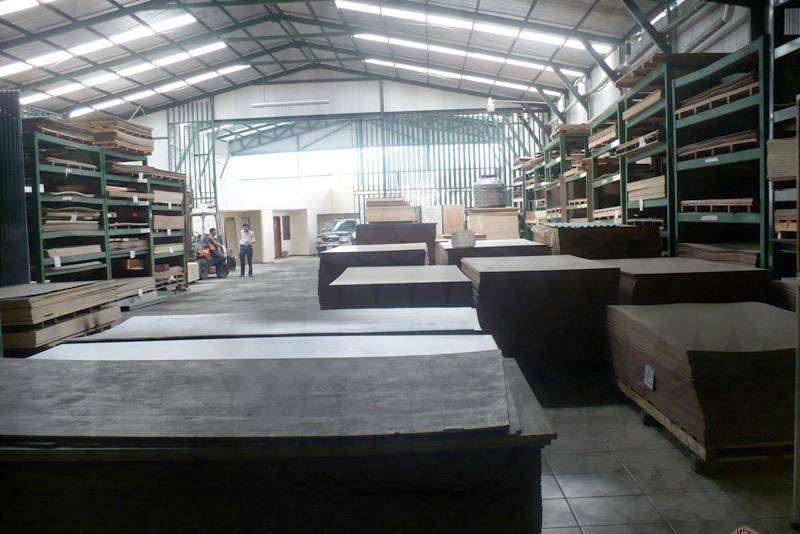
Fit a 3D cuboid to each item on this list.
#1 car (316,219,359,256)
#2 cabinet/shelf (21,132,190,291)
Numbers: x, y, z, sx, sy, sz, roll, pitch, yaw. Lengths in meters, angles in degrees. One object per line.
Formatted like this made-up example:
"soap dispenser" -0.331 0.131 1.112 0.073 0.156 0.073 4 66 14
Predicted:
"car" -2.898 -1.298 24.439 1.563 1.435 3.343 -4 0 9
"cabinet/shelf" -5.312 -0.954 10.253 1.159 2.105 3.760 0 2 7
